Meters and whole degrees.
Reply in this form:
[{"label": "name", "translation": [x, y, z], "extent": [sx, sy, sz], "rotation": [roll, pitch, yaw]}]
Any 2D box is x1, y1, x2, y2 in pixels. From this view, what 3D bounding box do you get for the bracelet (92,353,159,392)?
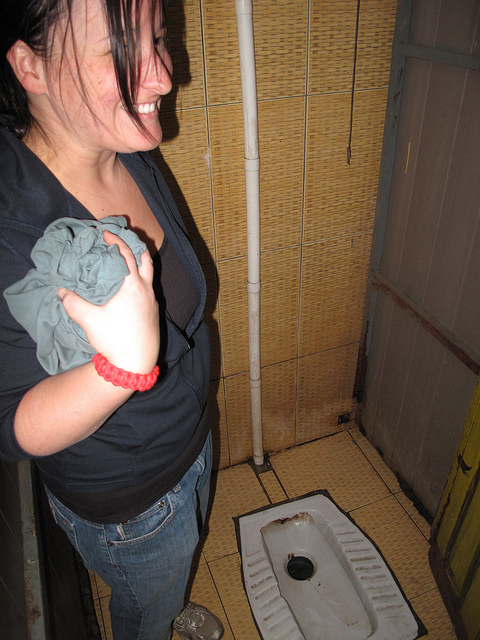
[{"label": "bracelet", "translation": [-0.149, 0.073, 0.686], "extent": [0.066, 0.021, 0.058], "rotation": [30, 23, 19]}]
